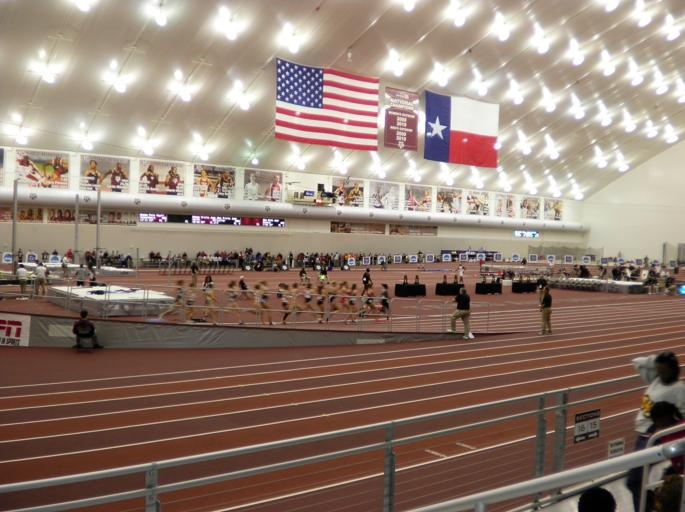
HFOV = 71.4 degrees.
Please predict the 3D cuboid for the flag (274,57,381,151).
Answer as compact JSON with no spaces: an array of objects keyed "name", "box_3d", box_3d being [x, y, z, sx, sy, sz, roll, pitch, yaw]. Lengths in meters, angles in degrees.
[{"name":"flag","box_3d":[-0.954,-9.987,30.771,7.853,5.331,0.342,0,2,-22]}]
